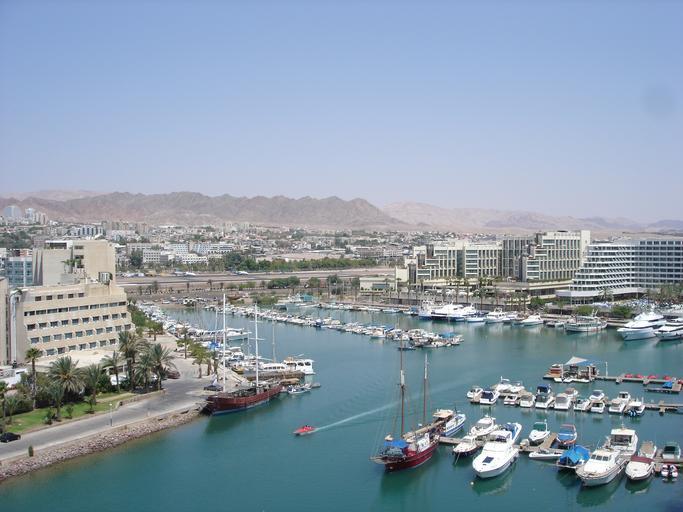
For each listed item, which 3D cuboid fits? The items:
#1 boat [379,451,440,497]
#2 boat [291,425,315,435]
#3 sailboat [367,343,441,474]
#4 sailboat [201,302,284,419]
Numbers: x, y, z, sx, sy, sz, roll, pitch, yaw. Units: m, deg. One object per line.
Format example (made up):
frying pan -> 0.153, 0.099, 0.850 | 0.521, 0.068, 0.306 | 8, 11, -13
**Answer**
boat -> 5.644, 17.083, 48.815 | 6.349, 1.649, 3.312 | -1, 1, -29
boat -> -3.295, 15.828, 57.738 | 2.012, 0.550, 1.899 | -1, 0, -7
sailboat -> 7.194, 15.034, 54.580 | 3.121, 10.288, 12.620 | 2, 3, 26
sailboat -> -9.290, 10.599, 64.056 | 9.050, 8.764, 2.477 | -3, 9, -45
